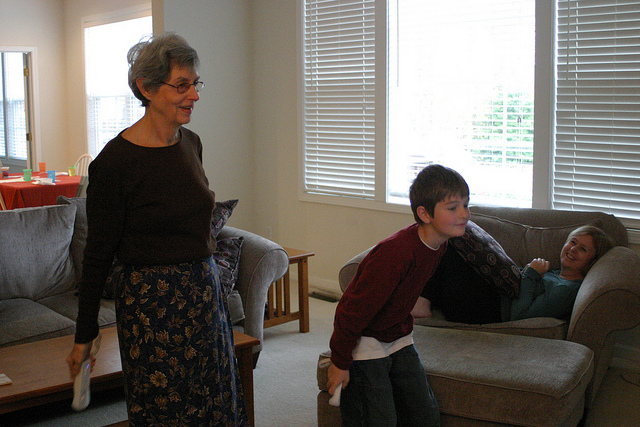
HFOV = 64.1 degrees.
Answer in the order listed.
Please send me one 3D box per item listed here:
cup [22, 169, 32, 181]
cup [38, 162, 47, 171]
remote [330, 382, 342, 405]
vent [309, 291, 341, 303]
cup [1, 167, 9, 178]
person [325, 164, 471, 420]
[{"bbox_3d":[-3.531,-0.457,6.091,0.133,0.155,0.127,1,-1,0],"label":"cup"},{"bbox_3d":[-3.592,-0.591,6.559,0.106,0.111,0.105,2,0,0],"label":"cup"},{"bbox_3d":[0.072,0.821,2.296,0.020,0.065,0.066,10,-30,18],"label":"remote"},{"bbox_3d":[0.047,0.811,4.927,0.431,0.016,0.141,6,10,31],"label":"vent"},{"bbox_3d":[-3.977,-0.509,6.444,0.071,0.106,0.228,-8,12,-32],"label":"cup"},{"bbox_3d":[0.344,0.456,2.379,0.669,1.331,0.244,-4,10,-14],"label":"person"}]
